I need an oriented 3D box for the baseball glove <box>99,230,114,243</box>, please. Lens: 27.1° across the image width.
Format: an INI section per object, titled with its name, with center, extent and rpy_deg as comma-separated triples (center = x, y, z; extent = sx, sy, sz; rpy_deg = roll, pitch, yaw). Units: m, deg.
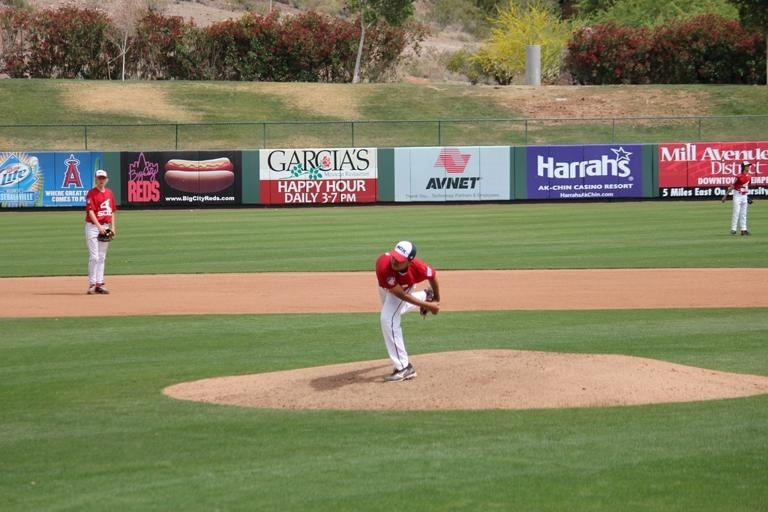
[baseball glove]
center = -10.901, -0.822, 62.205
extent = 0.553, 0.441, 0.244
rpy_deg = -3, 3, -31
